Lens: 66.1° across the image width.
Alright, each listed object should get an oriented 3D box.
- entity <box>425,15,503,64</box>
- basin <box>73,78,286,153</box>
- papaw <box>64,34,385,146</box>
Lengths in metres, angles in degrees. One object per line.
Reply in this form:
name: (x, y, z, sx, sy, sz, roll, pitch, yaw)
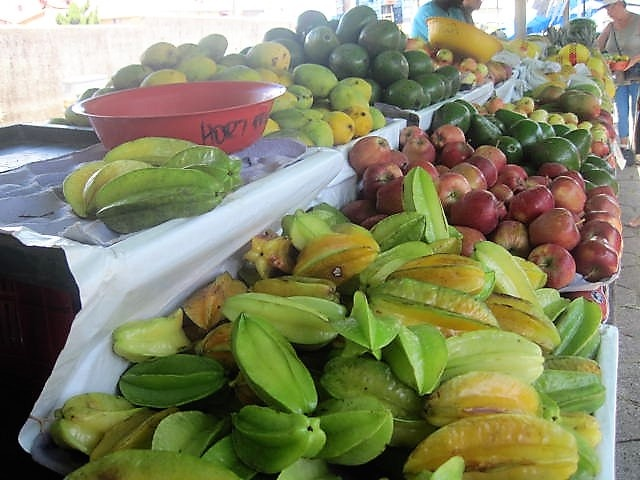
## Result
entity: (1.019, -1.389, 3.588, 0.381, 0.156, 0.354, 12, 11, -7)
basin: (-0.386, -0.371, 1.437, 0.377, 0.109, 0.367, -3, 23, 1)
papaw: (-0.282, -0.633, 1.979, 0.947, 0.310, 0.744, -2, 12, -10)
